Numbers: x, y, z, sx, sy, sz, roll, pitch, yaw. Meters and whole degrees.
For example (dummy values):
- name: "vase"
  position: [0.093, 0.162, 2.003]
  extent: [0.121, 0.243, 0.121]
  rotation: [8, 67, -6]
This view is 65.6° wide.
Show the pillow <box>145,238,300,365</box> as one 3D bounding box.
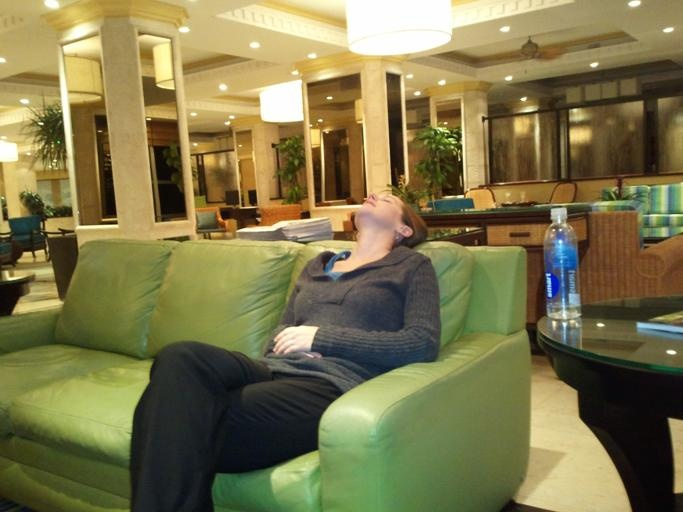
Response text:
- name: "pillow"
  position: [-0.709, 0.139, 2.504]
  extent: [0.833, 0.596, 0.378]
  rotation: [14, 40, -20]

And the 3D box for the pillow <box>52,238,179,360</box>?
- name: "pillow"
  position: [-1.214, 0.212, 2.900]
  extent: [0.759, 0.578, 0.356]
  rotation: [4, 10, 25]

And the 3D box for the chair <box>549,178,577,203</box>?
- name: "chair"
  position: [3.944, -1.151, 9.405]
  extent: [0.452, 0.360, 0.341]
  rotation: [4, 11, 22]

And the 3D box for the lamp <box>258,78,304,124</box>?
- name: "lamp"
  position: [-1.178, -2.875, 9.706]
  extent: [0.913, 0.538, 0.894]
  rotation: [-6, 6, -37]

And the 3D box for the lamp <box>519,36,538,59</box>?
- name: "lamp"
  position: [2.806, -3.097, 7.848]
  extent: [0.192, 0.287, 0.480]
  rotation: [5, 11, 25]
